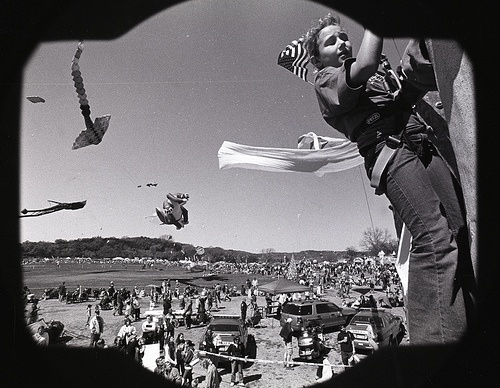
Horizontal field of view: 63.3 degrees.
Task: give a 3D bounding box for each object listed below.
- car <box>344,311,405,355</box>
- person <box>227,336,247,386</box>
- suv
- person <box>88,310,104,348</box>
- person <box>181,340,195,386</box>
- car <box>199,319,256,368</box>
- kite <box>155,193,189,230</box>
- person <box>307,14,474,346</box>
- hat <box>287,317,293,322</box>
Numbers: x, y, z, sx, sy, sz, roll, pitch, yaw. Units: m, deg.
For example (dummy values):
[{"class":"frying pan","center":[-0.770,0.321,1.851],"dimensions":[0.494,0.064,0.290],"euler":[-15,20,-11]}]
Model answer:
[{"class":"car","center":[4.041,4.254,12.891],"dimensions":[0.952,0.831,2.201],"euler":[-7,-8,29]},{"class":"person","center":[-0.410,4.665,11.472],"dimensions":[0.471,1.206,1.483],"euler":[0,-10,-2]},{"class":"suv","center":[2.526,4.526,15.216],"dimensions":[2.446,1.088,1.208],"euler":[-4,-10,-35]},{"class":"person","center":[-5.194,4.479,13.713],"dimensions":[0.403,1.270,1.876],"euler":[3,-11,-20]},{"class":"person","center":[-1.570,4.239,10.196],"dimensions":[0.270,1.032,0.650],"euler":[1,-10,-9]},{"class":"car","center":[-0.611,4.605,12.802],"dimensions":[1.066,0.959,2.524],"euler":[0,-22,4]},{"class":"kite","center":[-3.753,0.766,19.819],"dimensions":[1.830,2.032,1.451],"euler":[-11,10,-21]},{"class":"person","center":[0.945,-0.234,2.713],"dimensions":[0.937,2.452,0.727],"euler":[-3,-10,12]},{"class":"hat","center":[1.366,4.369,14.070],"dimensions":[0.118,0.126,0.123],"euler":[-5,6,-24]}]
